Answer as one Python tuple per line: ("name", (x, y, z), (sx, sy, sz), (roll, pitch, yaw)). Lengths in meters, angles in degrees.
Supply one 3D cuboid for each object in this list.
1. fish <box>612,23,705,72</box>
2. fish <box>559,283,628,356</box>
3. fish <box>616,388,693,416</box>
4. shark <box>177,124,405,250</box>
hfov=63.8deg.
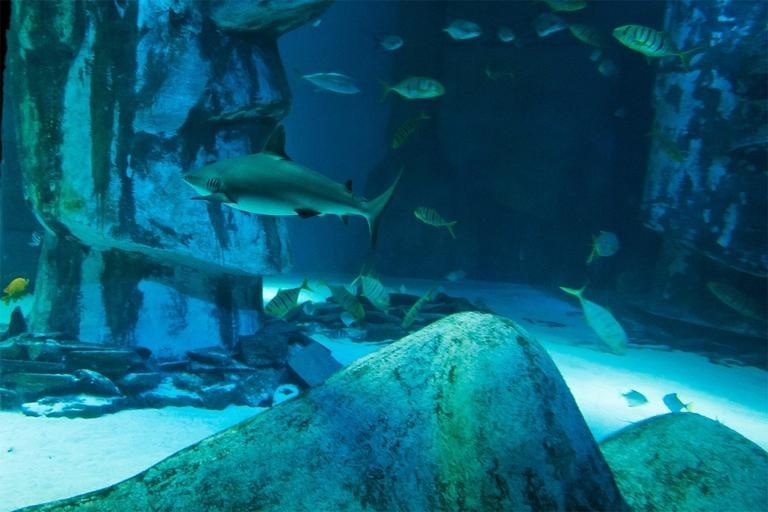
("fish", (4.600, -3.586, 10.512), (1.522, 0.305, 0.541), (17, -90, -5))
("fish", (3.729, 1.122, 10.538), (0.355, 0.660, 1.360), (-33, -46, 12))
("fish", (4.409, 2.402, 10.055), (0.970, 1.019, 0.339), (0, -84, 0))
("shark", (-1.292, -0.870, 8.072), (2.442, 1.430, 0.828), (-1, -49, -17))
